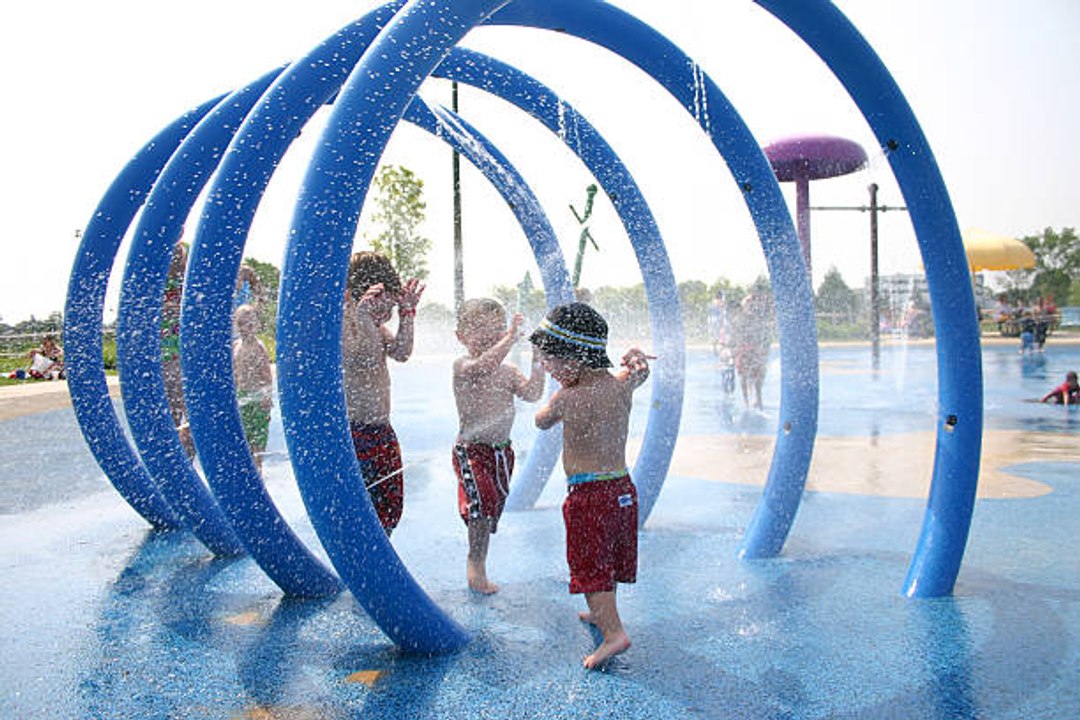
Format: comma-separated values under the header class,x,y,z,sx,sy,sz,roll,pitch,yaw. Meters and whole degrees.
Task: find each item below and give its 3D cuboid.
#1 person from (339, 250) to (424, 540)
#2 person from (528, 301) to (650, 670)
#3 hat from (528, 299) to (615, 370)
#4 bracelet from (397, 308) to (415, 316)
class,x,y,z,sx,sy,sz,roll,pitch,yaw
person,-1.006,0.193,4.850,0.432,1.726,0.423,-3,9,-14
person,0.252,0.616,4.076,0.584,1.772,0.716,-1,9,0
hat,0.177,-0.148,4.209,0.365,0.221,0.334,33,22,24
bracelet,-0.811,-0.294,4.664,0.107,0.053,0.061,3,11,22
